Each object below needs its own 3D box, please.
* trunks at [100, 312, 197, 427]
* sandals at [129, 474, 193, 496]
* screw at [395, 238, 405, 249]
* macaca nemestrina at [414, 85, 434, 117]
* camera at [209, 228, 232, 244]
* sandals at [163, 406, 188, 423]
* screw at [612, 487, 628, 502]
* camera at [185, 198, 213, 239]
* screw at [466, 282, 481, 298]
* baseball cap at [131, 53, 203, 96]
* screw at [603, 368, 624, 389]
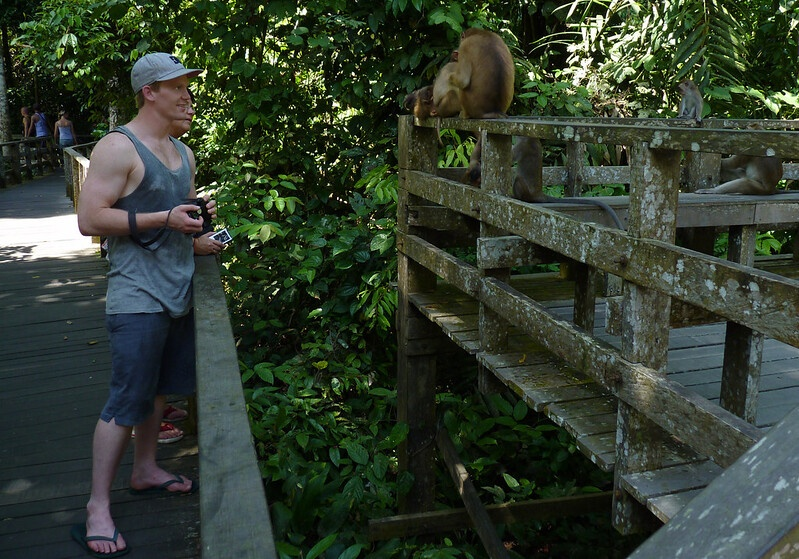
[{"bbox_3d":[-1.296,0.417,3.567,0.291,0.592,0.539,-2,15,14],"label":"trunks"},{"bbox_3d":[-1.340,1.184,3.879,0.322,0.082,0.136,-2,16,-11],"label":"sandals"},{"bbox_3d":[0.012,-0.275,5.143,0.017,0.069,0.070,-3,7,-34],"label":"screw"},{"bbox_3d":[0.180,-1.226,4.795,0.118,0.131,0.262,-2,54,11],"label":"macaca nemestrina"},{"bbox_3d":[-1.040,-0.248,3.985,0.117,0.111,0.198,-9,15,-15],"label":"camera"},{"bbox_3d":[-1.557,0.936,4.793,0.155,0.054,0.108,-7,13,-29],"label":"sandals"},{"bbox_3d":[0.914,0.880,2.841,0.067,0.069,0.051,-1,0,43],"label":"screw"},{"bbox_3d":[-1.066,-0.325,3.714,0.174,0.263,0.265,-1,17,-19],"label":"camera"},{"bbox_3d":[0.440,0.046,3.917,0.021,0.092,0.080,3,-15,-31],"label":"screw"},{"bbox_3d":[-1.200,-1.037,3.528,0.260,0.144,0.201,-10,24,-1],"label":"baseball cap"},{"bbox_3d":[0.886,0.406,2.831,0.018,0.078,0.078,4,12,-22],"label":"screw"}]
